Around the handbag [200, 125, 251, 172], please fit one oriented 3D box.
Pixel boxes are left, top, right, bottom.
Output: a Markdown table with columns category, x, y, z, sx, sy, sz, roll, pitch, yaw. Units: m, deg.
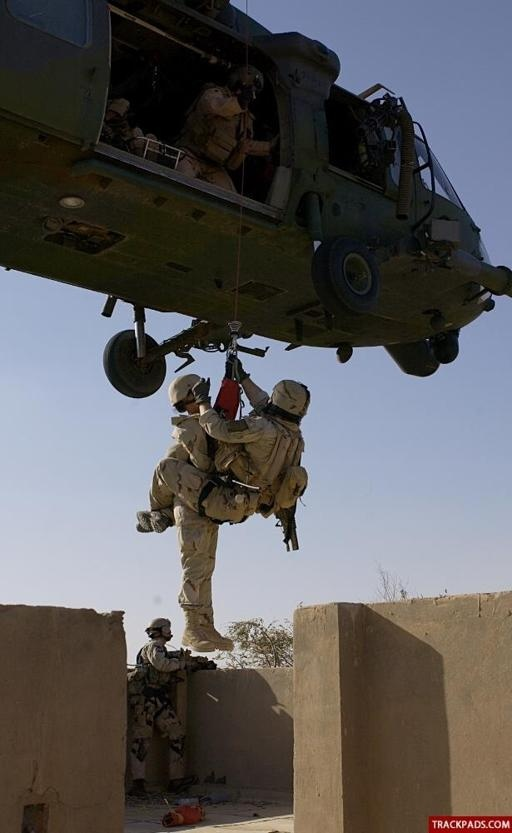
| category | x | y | z | sx | sy | sz | roll | pitch | yaw |
| --- | --- | --- | --- | --- | --- | --- | --- | --- | --- |
| handbag | -0.197 | -1.902 | 8.747 | 0.326 | 0.219 | 0.300 | 20 | -58 | -28 |

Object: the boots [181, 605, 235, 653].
| category | x | y | z | sx | sy | sz | roll | pitch | yaw |
| --- | --- | --- | --- | --- | --- | --- | --- | --- | --- |
| boots | -0.380 | 1.589 | 9.241 | 0.377 | 0.335 | 0.256 | -4 | -13 | -11 |

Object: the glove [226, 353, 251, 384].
| category | x | y | z | sx | sy | sz | roll | pitch | yaw |
| --- | --- | --- | --- | --- | --- | --- | --- | --- | --- |
| glove | -0.147 | -0.335 | 8.806 | 0.096 | 0.216 | 0.222 | -12 | -14 | 18 |

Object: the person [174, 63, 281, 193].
| category | x | y | z | sx | sy | sz | roll | pitch | yaw |
| --- | --- | --- | --- | --- | --- | --- | --- | --- | --- |
| person | -0.230 | -2.076 | 8.699 | 0.791 | 0.449 | 1.086 | 8 | -17 | -11 |

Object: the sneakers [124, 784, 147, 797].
| category | x | y | z | sx | sy | sz | roll | pitch | yaw |
| --- | --- | --- | --- | --- | --- | --- | --- | --- | --- |
| sneakers | -0.880 | 2.708 | 8.931 | 0.156 | 0.130 | 0.072 | -8 | -32 | 32 |

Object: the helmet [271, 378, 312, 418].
| category | x | y | z | sx | sy | sz | roll | pitch | yaw |
| --- | --- | --- | --- | --- | --- | --- | --- | --- | --- |
| helmet | 0.240 | -0.126 | 8.642 | 0.250 | 0.256 | 0.284 | -5 | -13 | -10 |
